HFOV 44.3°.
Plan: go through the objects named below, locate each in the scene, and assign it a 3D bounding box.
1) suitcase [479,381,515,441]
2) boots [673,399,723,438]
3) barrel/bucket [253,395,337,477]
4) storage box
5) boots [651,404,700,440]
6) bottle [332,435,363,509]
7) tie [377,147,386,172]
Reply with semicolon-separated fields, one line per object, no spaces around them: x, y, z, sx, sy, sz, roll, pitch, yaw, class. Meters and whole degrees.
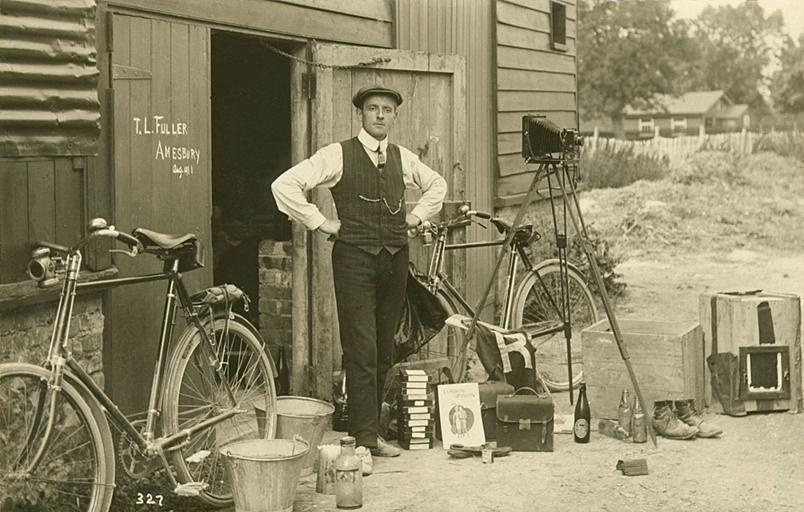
0.745;1.473;9.475;0.473;0.566;0.334;4;6;-16;suitcase
2.837;1.573;9.466;0.562;0.360;0.227;0;-2;27;boots
-0.942;1.483;8.731;0.633;0.777;0.560;0;0;3;barrel/bucket
2.480;1.044;10.002;1.156;0.991;0.998;0;1;18;storage box
2.686;1.595;9.446;0.518;0.393;0.215;1;-2;24;boots
-0.428;1.802;8.262;0.279;0.547;0.327;1;0;2;bottle
-0.176;-0.857;8.826;0.045;0.158;0.106;-5;9;-22;tie
